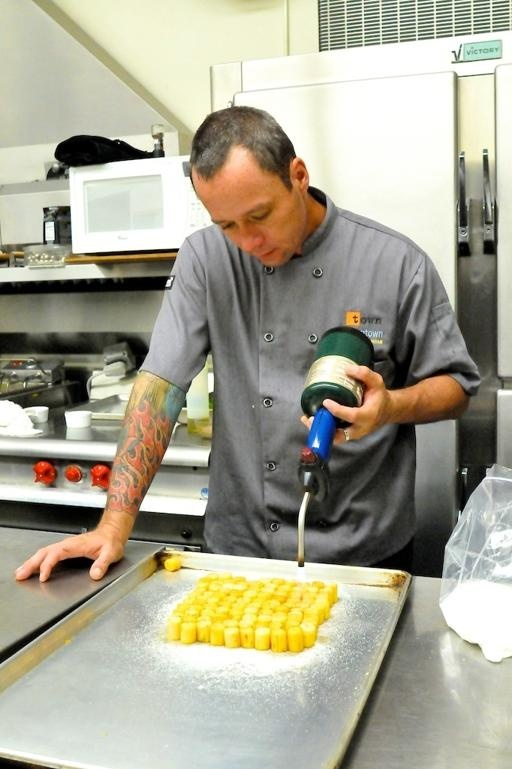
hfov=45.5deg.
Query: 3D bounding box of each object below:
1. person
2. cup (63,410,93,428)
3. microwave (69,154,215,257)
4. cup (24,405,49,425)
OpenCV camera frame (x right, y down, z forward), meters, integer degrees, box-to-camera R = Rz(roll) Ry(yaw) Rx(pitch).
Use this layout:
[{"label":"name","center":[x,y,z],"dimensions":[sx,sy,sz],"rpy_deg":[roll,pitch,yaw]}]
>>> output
[{"label":"person","center":[0.041,-0.029,1.034],"dimensions":[0.627,0.822,0.536],"rpy_deg":[0,2,20]},{"label":"cup","center":[-0.595,0.116,2.021],"dimensions":[0.063,0.040,0.064],"rpy_deg":[1,-3,0]},{"label":"microwave","center":[-0.388,-0.606,2.220],"dimensions":[0.494,0.313,0.295],"rpy_deg":[-3,-3,9]},{"label":"cup","center":[-0.779,0.107,2.180],"dimensions":[0.075,0.048,0.059],"rpy_deg":[8,9,16]}]
